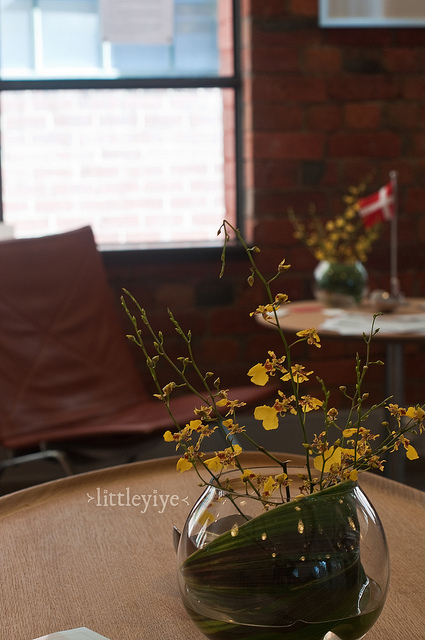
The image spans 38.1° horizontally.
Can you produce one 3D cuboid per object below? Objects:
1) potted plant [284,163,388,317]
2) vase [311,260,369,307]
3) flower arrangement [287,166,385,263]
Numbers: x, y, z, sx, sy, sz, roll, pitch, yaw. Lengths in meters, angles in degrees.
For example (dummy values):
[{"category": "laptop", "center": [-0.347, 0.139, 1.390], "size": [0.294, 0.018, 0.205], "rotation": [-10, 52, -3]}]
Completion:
[{"category": "potted plant", "center": [0.355, -0.239, 1.755], "size": [0.298, 0.401, 0.279], "rotation": [5, 7, 28]}, {"category": "vase", "center": [0.361, -0.104, 1.732], "size": [0.147, 0.131, 0.137], "rotation": [0, 6, 10]}, {"category": "flower arrangement", "center": [0.391, -0.255, 1.810], "size": [0.250, 0.314, 0.286], "rotation": [-8, 5, -16]}]
